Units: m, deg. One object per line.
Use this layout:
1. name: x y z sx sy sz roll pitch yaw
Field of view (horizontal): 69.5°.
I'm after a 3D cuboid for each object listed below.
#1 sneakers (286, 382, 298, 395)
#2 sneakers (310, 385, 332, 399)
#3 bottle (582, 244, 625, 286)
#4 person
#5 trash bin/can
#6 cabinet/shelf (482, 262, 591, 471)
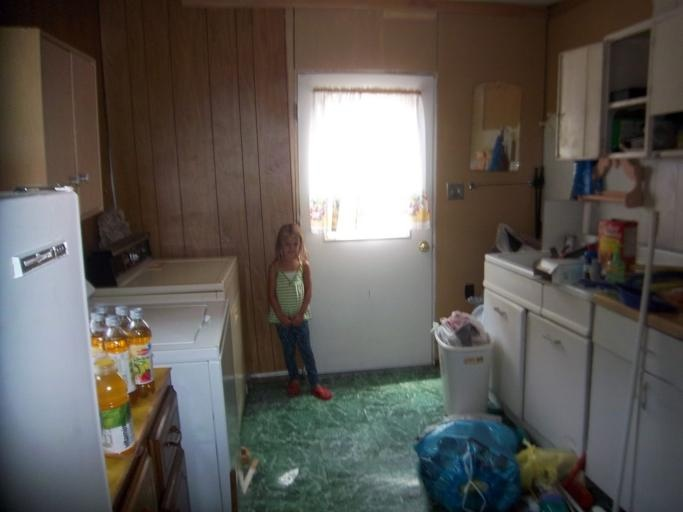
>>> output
1. sneakers: -0.348 0.949 3.503 0.072 0.070 0.153 0 -2 -6
2. sneakers: -0.131 0.963 3.473 0.072 0.062 0.128 -5 2 -41
3. bottle: 1.289 0.066 2.410 0.186 0.209 0.133 -2 1 42
4. person: -0.301 0.391 3.463 0.414 1.215 0.305 -3 9 -8
5. trash bin/can: 0.739 0.677 3.263 0.363 0.637 0.510 -1 2 -4
6. cabinet/shelf: 1.081 0.617 2.680 0.323 0.843 0.924 1 3 -1
